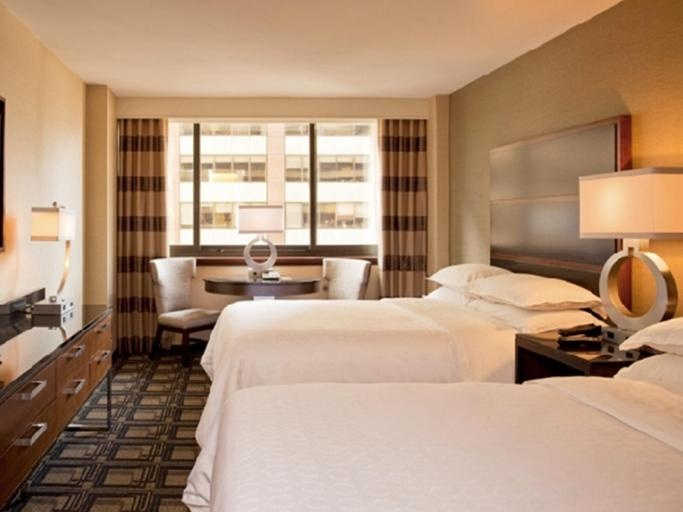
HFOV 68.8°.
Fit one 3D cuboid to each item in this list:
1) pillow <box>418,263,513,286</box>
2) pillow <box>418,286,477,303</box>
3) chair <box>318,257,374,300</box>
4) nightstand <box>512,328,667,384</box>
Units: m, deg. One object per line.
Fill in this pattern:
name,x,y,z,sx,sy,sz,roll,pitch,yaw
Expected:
pillow,1.025,0.142,3.978,0.325,0.096,0.332,-6,-2,-29
pillow,0.878,0.316,4.075,0.255,0.063,0.241,-5,4,-34
chair,0.025,0.243,5.301,0.456,0.507,0.474,0,-3,17
nightstand,1.263,0.503,2.516,0.292,0.266,0.437,0,0,-3
